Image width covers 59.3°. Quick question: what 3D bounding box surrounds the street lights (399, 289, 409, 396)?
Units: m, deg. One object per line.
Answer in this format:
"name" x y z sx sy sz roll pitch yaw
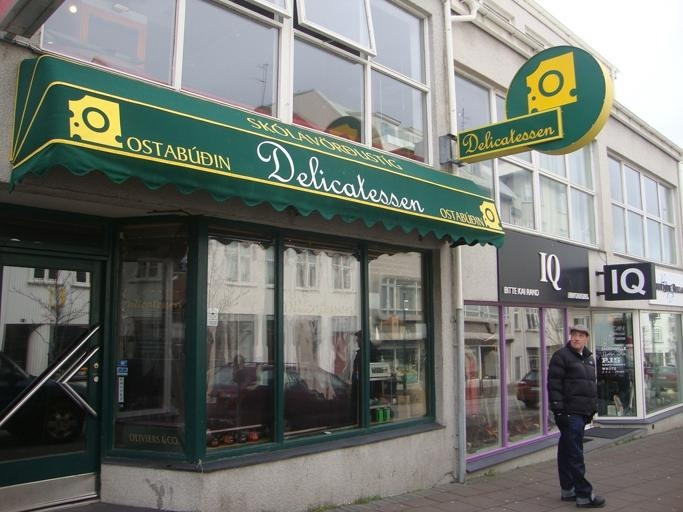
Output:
"street lights" 0.973 1.297 9.261 0.110 1.512 0.187 -9 -13 42

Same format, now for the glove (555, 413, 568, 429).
"glove" 2.995 2.266 8.210 0.108 0.222 0.241 1 -10 -6

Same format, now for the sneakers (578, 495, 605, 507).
"sneakers" 3.348 3.294 8.042 0.299 0.142 0.169 -2 -6 -4

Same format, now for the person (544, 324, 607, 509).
"person" 3.198 2.173 8.261 0.618 2.421 0.513 -4 -11 24

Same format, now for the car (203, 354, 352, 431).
"car" -0.851 1.798 8.020 1.578 0.823 0.879 0 -9 -27
